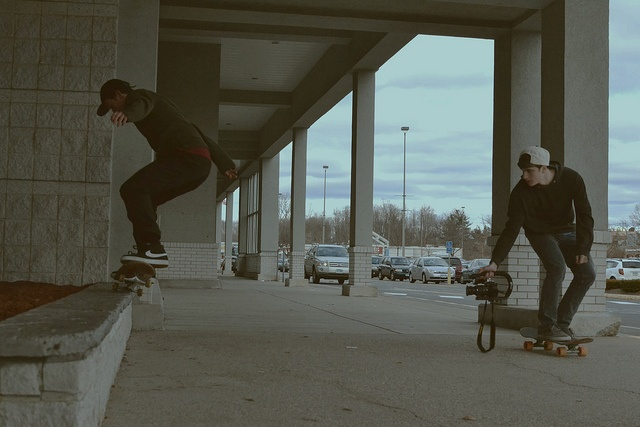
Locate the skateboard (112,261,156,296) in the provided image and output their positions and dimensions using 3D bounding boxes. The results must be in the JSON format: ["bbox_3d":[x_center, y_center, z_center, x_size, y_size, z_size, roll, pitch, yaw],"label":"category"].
[{"bbox_3d":[-2.070,0.727,8.152,0.288,0.281,0.749,15,-10,-11],"label":"skateboard"}]

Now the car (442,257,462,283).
[{"bbox_3d":[6.900,2.853,37.390,0.967,1.091,2.083,1,2,5],"label":"car"}]

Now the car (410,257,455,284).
[{"bbox_3d":[5.381,2.739,35.184,1.396,1.232,2.688,1,-2,-13],"label":"car"}]

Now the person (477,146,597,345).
[{"bbox_3d":[2.693,0.361,8.545,1.080,2.265,0.370,1,-1,-3],"label":"person"}]

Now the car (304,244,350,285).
[{"bbox_3d":[0.290,1.868,26.969,1.459,1.427,2.332,1,-2,1],"label":"car"}]

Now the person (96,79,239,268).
[{"bbox_3d":[-1.745,-0.445,8.192,1.366,2.083,0.527,2,-2,-31],"label":"person"}]

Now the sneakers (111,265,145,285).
[{"bbox_3d":[-2.040,0.655,7.911,0.374,0.225,0.295,1,-2,-15],"label":"sneakers"}]

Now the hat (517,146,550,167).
[{"bbox_3d":[2.540,-0.678,8.476,0.212,0.175,0.301,6,7,42],"label":"hat"}]

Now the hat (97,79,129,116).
[{"bbox_3d":[-2.263,-1.315,8.126,0.377,0.412,0.201,1,-1,-3],"label":"hat"}]

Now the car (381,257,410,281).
[{"bbox_3d":[4.094,2.917,39.037,0.864,0.744,1.692,2,-9,-16],"label":"car"}]
